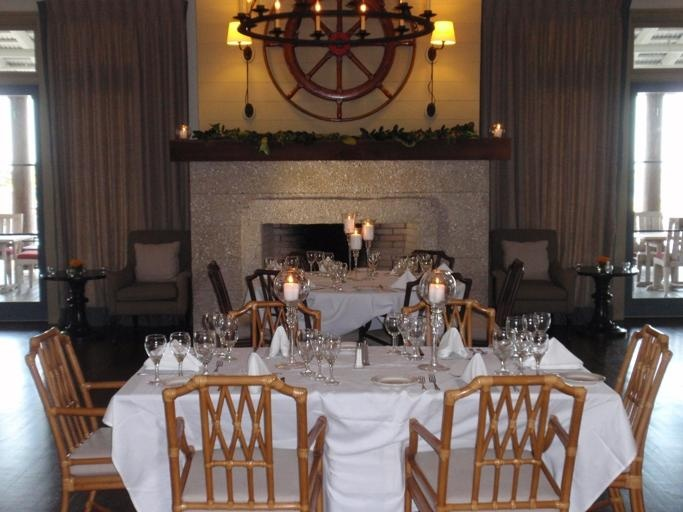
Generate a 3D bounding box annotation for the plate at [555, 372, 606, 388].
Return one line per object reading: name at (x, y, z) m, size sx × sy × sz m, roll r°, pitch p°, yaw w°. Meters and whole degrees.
plate at (1.239, 0.637, 3.824) m, size 0.234 × 0.036 × 0.211 m, roll -4°, pitch 5°, yaw -27°

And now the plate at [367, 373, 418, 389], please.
plate at (0.273, 0.638, 3.809) m, size 0.237 × 0.029 × 0.215 m, roll -2°, pitch 4°, yaw 6°

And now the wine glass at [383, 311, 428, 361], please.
wine glass at (0.363, 0.450, 4.125) m, size 0.232 × 0.288 × 0.243 m, roll 0°, pitch -2°, yaw 0°

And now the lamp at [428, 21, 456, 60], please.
lamp at (0.959, -2.039, 7.019) m, size 0.241 × 0.335 × 0.206 m, roll 12°, pitch 18°, yaw 40°

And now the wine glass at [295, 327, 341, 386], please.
wine glass at (-0.116, 0.519, 3.874) m, size 0.255 × 0.252 × 0.229 m, roll -1°, pitch 5°, yaw 15°

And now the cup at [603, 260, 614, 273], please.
cup at (2.697, 0.110, 7.439) m, size 0.100 × 0.166 × 0.098 m, roll -1°, pitch 10°, yaw 0°

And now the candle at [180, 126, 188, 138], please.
candle at (-1.569, -1.213, 7.223) m, size 0.086 × 0.126 × 0.054 m, roll -1°, pitch 6°, yaw 5°

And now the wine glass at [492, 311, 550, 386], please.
wine glass at (0.935, 0.489, 3.840) m, size 0.310 × 0.427 × 0.304 m, roll 0°, pitch -1°, yaw -1°

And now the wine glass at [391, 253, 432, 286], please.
wine glass at (0.598, 0.117, 6.193) m, size 0.281 × 0.431 × 0.289 m, roll 2°, pitch 3°, yaw -1°

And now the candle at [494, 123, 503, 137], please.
candle at (1.562, -1.240, 7.295) m, size 0.065 × 0.131 × 0.280 m, roll 0°, pitch 5°, yaw 20°
